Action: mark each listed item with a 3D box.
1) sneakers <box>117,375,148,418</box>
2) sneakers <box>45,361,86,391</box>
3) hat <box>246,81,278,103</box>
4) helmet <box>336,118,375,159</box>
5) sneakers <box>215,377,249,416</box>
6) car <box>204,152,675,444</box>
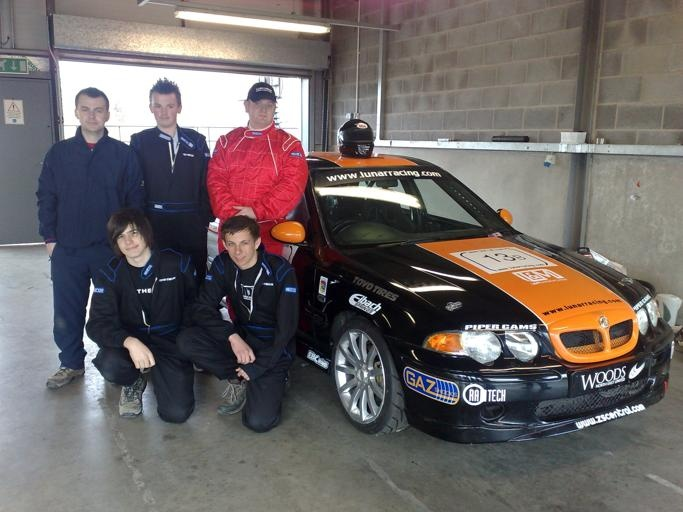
[{"bbox_3d":[-1.326,0.899,3.186,0.126,0.134,0.330,4,27,-8],"label":"sneakers"},{"bbox_3d":[-1.958,0.862,3.504,0.098,0.105,0.270,22,15,26],"label":"sneakers"},{"bbox_3d":[-0.592,-1.210,3.620,0.154,0.098,0.196,-2,12,-17],"label":"hat"},{"bbox_3d":[0.109,-0.961,3.987,0.325,0.287,0.389,-8,25,-30],"label":"helmet"},{"bbox_3d":[-0.696,0.902,3.177,0.128,0.134,0.336,2,13,24],"label":"sneakers"},{"bbox_3d":[0.280,0.009,3.459,1.435,0.923,3.008,-9,19,-29],"label":"car"}]
